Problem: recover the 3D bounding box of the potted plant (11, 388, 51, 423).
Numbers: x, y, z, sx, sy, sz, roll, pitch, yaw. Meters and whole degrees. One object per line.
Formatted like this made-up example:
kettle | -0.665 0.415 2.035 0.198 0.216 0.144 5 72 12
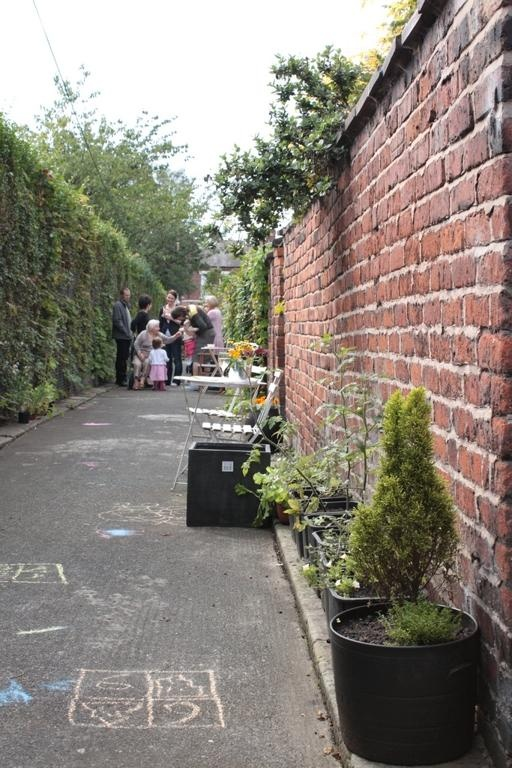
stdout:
potted plant | -3.602 0.330 9.971 0.339 0.548 1.252 2 2 -5
